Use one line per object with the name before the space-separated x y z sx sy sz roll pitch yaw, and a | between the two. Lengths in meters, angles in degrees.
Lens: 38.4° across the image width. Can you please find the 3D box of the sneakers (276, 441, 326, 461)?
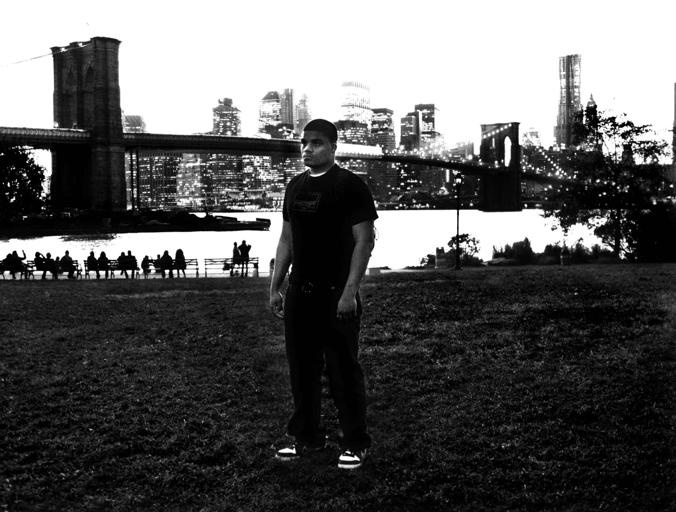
sneakers | -0.337 1.749 8.847 0.450 0.210 0.169 -2 -1 -19

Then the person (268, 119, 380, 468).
person | -0.094 0.317 8.620 0.822 2.945 0.772 1 12 7
